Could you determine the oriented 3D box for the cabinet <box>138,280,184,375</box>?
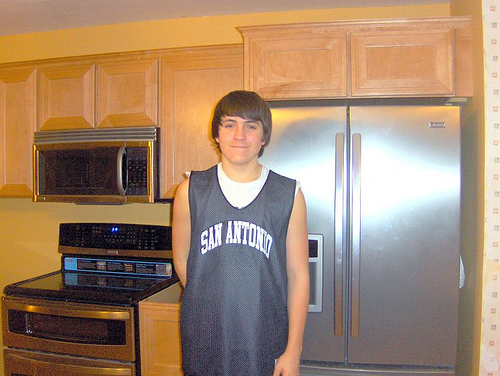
[{"bbox_3d":[-0.586,0.932,3.285,0.279,0.455,0.438,-2,13,-9],"label":"cabinet"}]

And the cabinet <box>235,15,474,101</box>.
[{"bbox_3d":[0.656,-0.767,3.343,1.458,0.495,0.408,0,-6,10],"label":"cabinet"}]

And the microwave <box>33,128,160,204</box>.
[{"bbox_3d":[-1.111,-0.131,3.696,0.861,0.505,0.446,-2,-4,5],"label":"microwave"}]

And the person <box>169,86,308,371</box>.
[{"bbox_3d":[-0.062,0.222,2.483,0.703,1.377,0.452,1,13,6],"label":"person"}]
